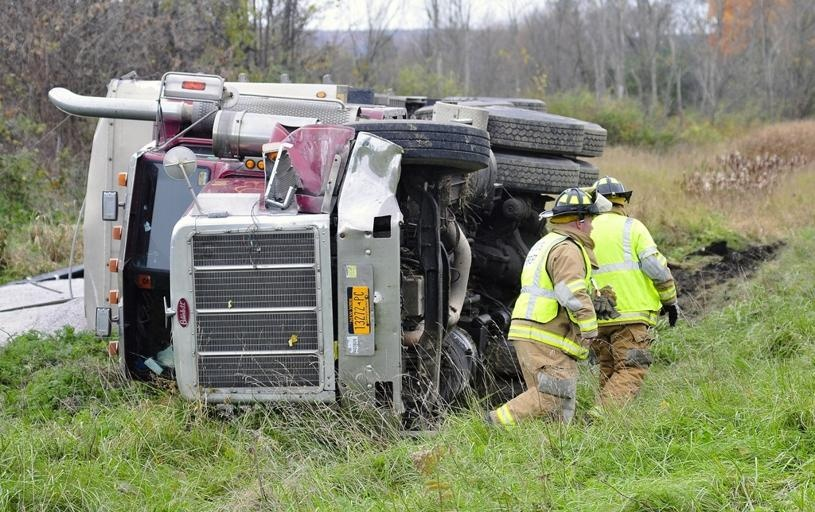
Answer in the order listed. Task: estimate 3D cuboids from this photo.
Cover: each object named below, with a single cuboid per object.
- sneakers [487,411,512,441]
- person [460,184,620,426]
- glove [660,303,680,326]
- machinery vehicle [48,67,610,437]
[{"bbox_3d":[0.991,1.819,9.523,0.207,0.277,0.217,-20,0,1],"label":"sneakers"},{"bbox_3d":[1.607,0.553,9.822,1.147,2.509,0.821,-3,6,2],"label":"person"},{"bbox_3d":[3.281,0.748,11.051,0.260,0.377,0.131,2,10,30],"label":"glove"},{"bbox_3d":[-0.505,-0.879,12.479,6.141,3.639,7.257,-11,22,-6],"label":"machinery vehicle"}]
